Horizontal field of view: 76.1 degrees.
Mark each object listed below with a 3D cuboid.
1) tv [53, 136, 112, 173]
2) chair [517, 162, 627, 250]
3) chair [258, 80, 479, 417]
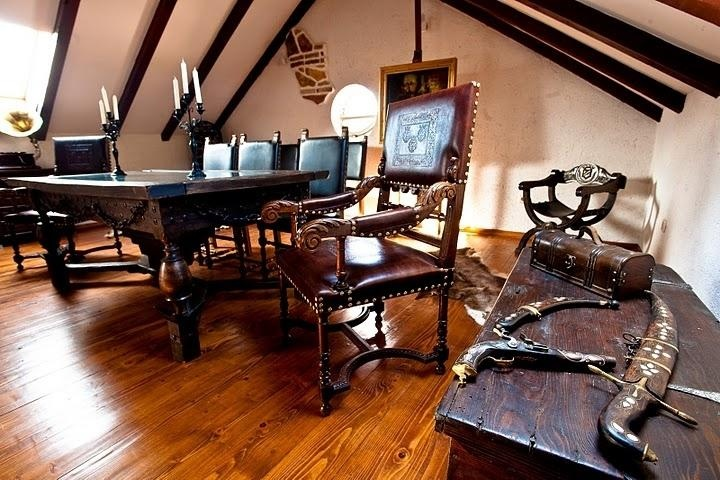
[{"bbox_3d":[-2.532,-0.770,4.213,0.552,0.328,0.271,2,13,5],"label":"tv"},{"bbox_3d":[1.878,-0.263,4.158,0.573,0.787,0.710,-8,16,-26],"label":"chair"},{"bbox_3d":[-0.034,-0.196,4.092,1.888,2.988,1.727,-5,11,-26],"label":"chair"}]
